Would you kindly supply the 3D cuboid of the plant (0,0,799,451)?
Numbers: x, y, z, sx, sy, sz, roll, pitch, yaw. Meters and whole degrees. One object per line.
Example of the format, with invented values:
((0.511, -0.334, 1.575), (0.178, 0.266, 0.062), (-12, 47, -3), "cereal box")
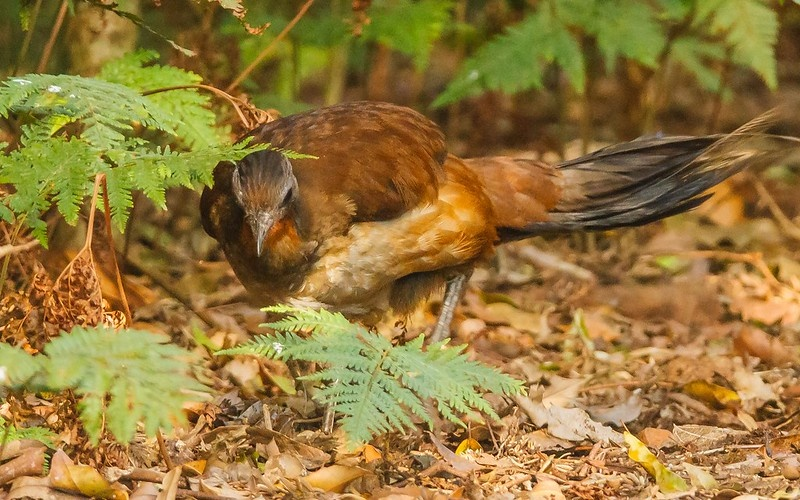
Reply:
((0.012, -0.540, 5.742), (4.854, 2.334, 1.017), (10, 27, -28), "plant")
